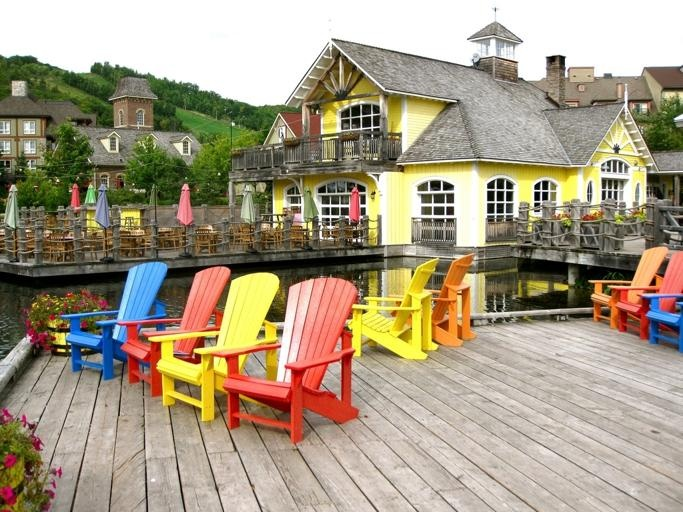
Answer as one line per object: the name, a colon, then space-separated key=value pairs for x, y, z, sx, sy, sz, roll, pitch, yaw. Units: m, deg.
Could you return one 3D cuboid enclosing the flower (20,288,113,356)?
flower: x=-3.452 y=0.727 z=7.669 sx=0.916 sy=0.699 sz=0.936 roll=0 pitch=6 yaw=-2
